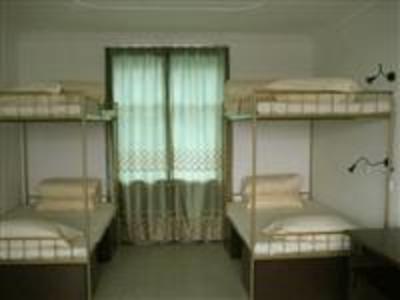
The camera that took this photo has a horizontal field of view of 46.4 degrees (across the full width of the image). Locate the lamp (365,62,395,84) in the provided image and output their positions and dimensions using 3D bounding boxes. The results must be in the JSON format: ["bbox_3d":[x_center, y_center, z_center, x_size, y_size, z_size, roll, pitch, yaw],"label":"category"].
[{"bbox_3d":[2.045,-0.872,5.338,0.067,0.236,0.417,-3,7,-23],"label":"lamp"}]

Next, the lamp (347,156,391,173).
[{"bbox_3d":[2.000,0.175,5.476,0.093,0.178,0.380,-15,21,-37],"label":"lamp"}]

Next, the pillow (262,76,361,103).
[{"bbox_3d":[1.254,-0.659,5.193,1.046,0.275,0.315,-1,6,-7],"label":"pillow"}]

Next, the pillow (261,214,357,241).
[{"bbox_3d":[1.220,0.876,5.255,0.991,0.211,0.398,-1,6,-2],"label":"pillow"}]

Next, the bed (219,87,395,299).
[{"bbox_3d":[1.237,0.950,6.542,1.850,3.058,3.292,0,4,-1],"label":"bed"}]
